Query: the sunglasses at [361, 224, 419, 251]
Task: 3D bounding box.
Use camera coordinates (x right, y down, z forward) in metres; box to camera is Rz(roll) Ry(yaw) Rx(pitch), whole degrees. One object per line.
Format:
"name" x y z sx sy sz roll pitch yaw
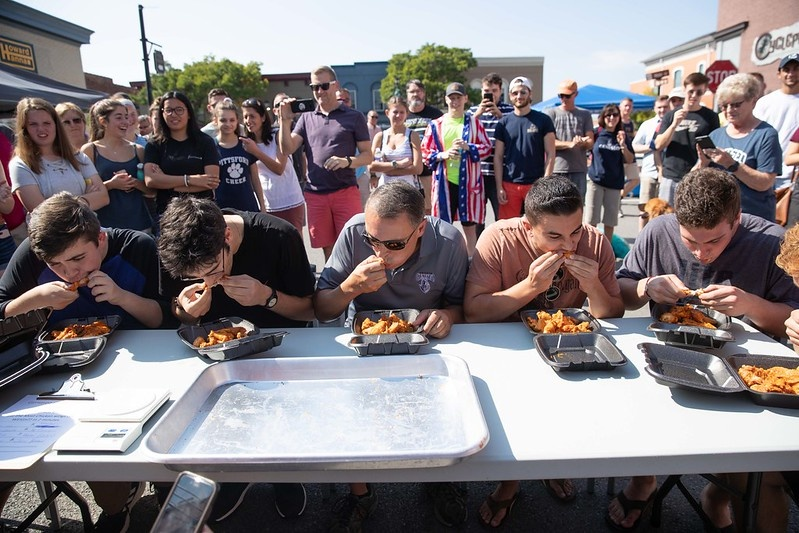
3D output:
"sunglasses" -0.063 -0.150 3.175 0.298 0.097 0.117 1 21 -3

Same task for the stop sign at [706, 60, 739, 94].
"stop sign" 8.923 -5.262 14.992 0.629 0.861 1.872 14 24 27

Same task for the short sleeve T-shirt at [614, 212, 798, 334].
"short sleeve T-shirt" 1.922 -0.021 3.326 0.854 0.551 0.774 22 23 38

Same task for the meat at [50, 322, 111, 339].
"meat" -1.833 0.369 3.111 0.202 0.033 0.140 -3 25 -7

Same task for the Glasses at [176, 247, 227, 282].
"Glasses" -1.066 -0.002 2.971 0.252 0.168 0.138 -6 23 -22

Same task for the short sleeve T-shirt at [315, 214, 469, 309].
"short sleeve T-shirt" 0.113 0.144 3.672 0.978 0.665 0.499 -8 -18 32

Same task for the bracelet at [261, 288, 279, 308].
"bracelet" -0.759 0.191 3.243 0.101 0.107 0.075 5 -15 31

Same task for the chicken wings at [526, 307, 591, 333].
"chicken wings" 0.921 0.315 3.056 0.232 0.040 0.166 -3 21 -1

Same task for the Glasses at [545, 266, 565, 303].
"Glasses" 0.990 0.108 3.455 0.045 0.195 0.116 32 24 4

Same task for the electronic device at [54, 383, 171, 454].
"electronic device" -1.330 0.708 2.510 0.390 0.128 0.330 3 21 2
